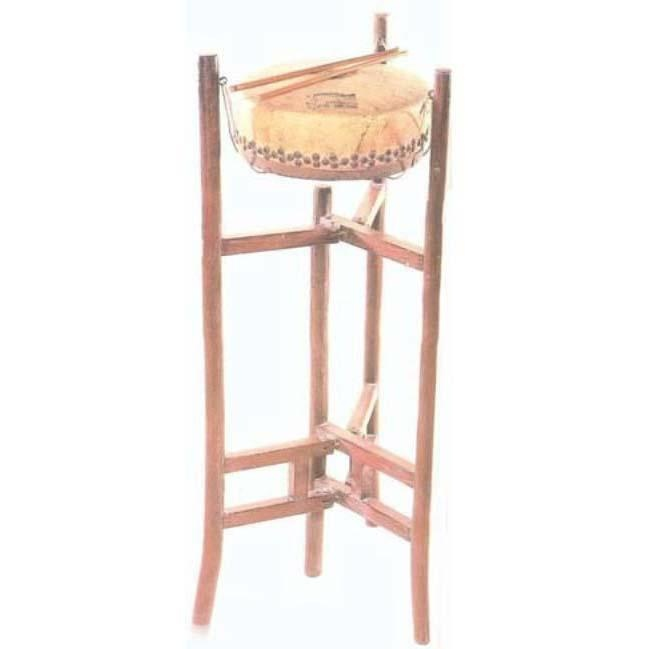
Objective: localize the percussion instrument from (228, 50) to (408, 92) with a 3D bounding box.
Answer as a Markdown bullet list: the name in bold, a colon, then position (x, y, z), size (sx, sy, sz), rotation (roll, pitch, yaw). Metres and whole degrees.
- **percussion instrument**: position (-0.021, -0.418, 1.492), size (0.322, 0.045, 0.028), rotation (-11, -14, -9)

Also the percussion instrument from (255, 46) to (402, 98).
- **percussion instrument**: position (-0.001, -0.414, 1.485), size (0.287, 0.039, 0.030), rotation (-16, -20, -17)

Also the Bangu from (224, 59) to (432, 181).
- **Bangu**: position (0.005, -0.366, 1.572), size (0.342, 0.116, 0.334), rotation (4, 31, 6)
